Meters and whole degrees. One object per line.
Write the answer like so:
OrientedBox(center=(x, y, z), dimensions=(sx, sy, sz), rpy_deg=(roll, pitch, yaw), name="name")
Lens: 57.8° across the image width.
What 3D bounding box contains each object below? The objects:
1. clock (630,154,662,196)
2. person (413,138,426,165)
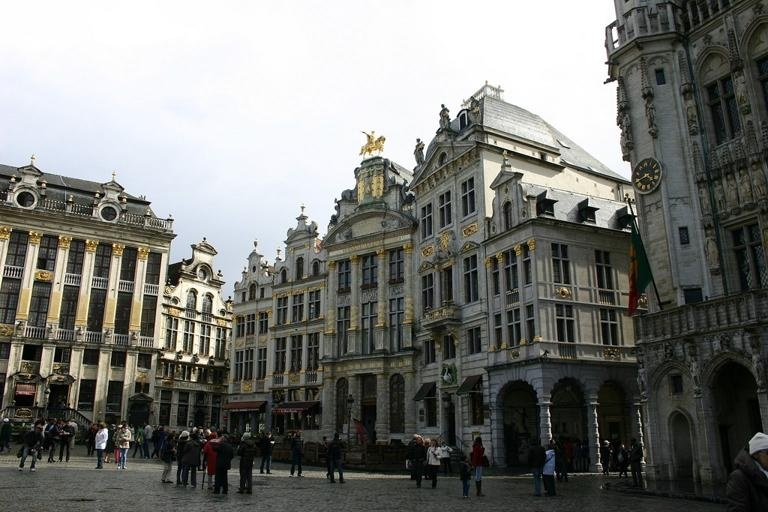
OrientedBox(center=(15.615, -4.682, 41.117), dimensions=(0.590, 2.125, 1.916), rpy_deg=(14, -25, -26), name="clock")
OrientedBox(center=(3.166, -9.021, 62.201), dimensions=(0.598, 2.584, 1.053), rpy_deg=(8, -23, -14), name="person")
